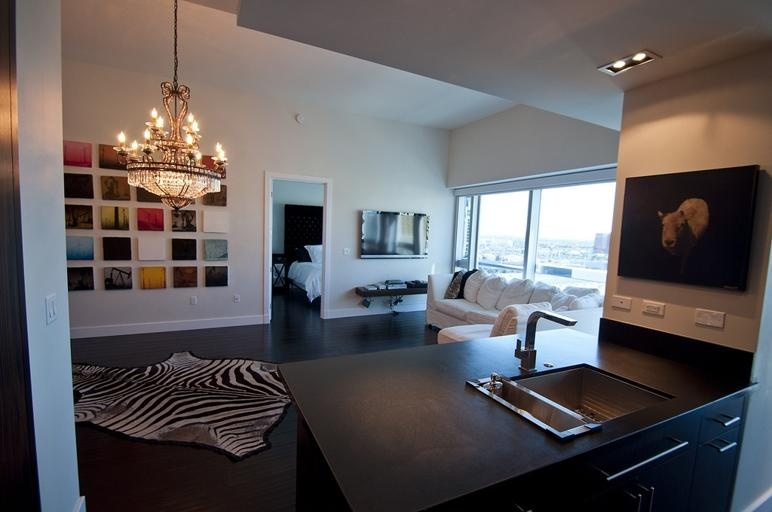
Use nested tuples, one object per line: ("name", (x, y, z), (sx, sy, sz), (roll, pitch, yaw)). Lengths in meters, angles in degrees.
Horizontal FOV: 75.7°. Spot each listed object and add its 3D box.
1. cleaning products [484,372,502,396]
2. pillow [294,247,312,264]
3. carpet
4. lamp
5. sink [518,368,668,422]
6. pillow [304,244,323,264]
("cleaning products", (0.656, 0.772, 3.026), (0.125, 0.055, 0.124), (-6, 9, -14))
("pillow", (-1.692, -0.026, 10.022), (0.321, 0.301, 0.094), (-32, 9, -30))
("carpet", (-2.146, 1.247, 4.515), (2.438, 0.034, 1.321), (4, 23, -2))
("lamp", (-2.165, -1.395, 5.250), (1.250, 1.895, 2.290), (1, 2, -29))
("sink", (1.310, 0.747, 3.127), (0.512, 0.311, 0.483), (-4, 5, -35))
("pillow", (-1.416, -0.060, 9.705), (0.243, 0.329, 0.752), (1, 1, -17))
